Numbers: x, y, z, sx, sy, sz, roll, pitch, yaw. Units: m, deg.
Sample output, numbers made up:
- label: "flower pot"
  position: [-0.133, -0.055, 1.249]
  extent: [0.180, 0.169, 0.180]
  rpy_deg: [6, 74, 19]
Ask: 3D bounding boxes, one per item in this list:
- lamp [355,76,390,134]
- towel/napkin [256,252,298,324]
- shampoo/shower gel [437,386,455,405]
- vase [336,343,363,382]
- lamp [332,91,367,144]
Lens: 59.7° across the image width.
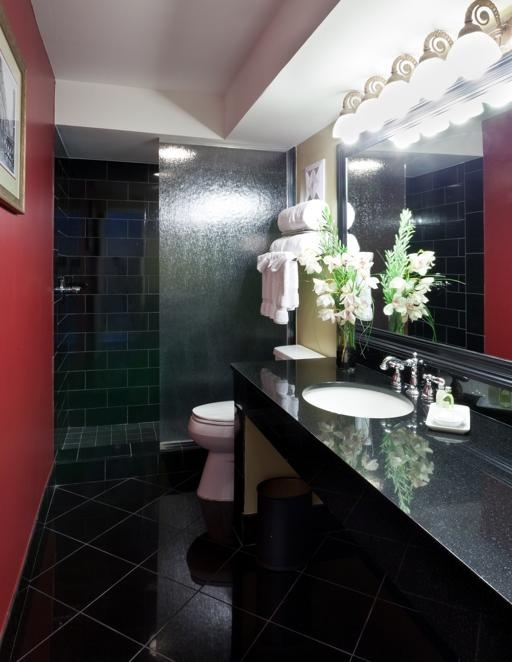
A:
- label: "lamp"
  position: [0.429, -0.827, 1.637]
  extent: [0.113, 0.190, 0.038]
  rpy_deg: [18, 21, 39]
- label: "towel/napkin"
  position: [0.127, -0.268, 2.585]
  extent: [0.162, 0.419, 0.389]
  rpy_deg: [-2, 9, -16]
- label: "shampoo/shower gel"
  position: [0.528, 0.180, 1.244]
  extent: [0.038, 0.083, 0.040]
  rpy_deg: [5, 11, 20]
- label: "vase"
  position: [0.400, 0.124, 1.909]
  extent: [0.104, 0.228, 0.126]
  rpy_deg: [2, 3, 4]
- label: "lamp"
  position: [0.390, -0.862, 1.783]
  extent: [0.046, 0.226, 0.138]
  rpy_deg: [4, 18, -34]
